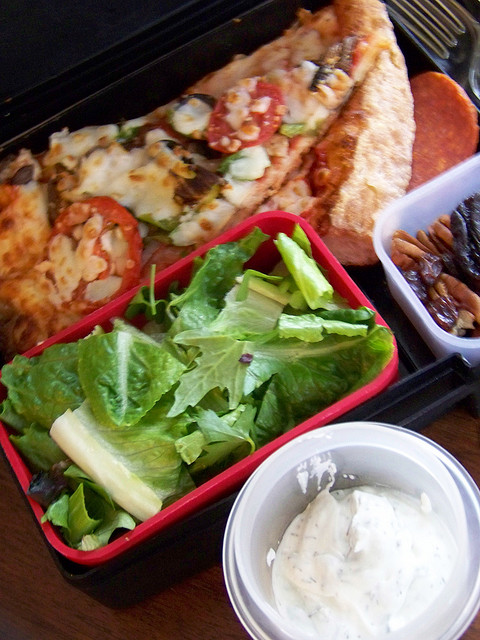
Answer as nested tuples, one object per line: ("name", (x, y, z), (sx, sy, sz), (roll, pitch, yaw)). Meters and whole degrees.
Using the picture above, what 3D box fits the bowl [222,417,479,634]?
("bowl", (0.146, 0.270, 0.721), (0.316, 0.134, 0.300), (0, 52, 0))

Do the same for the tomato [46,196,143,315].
("tomato", (-0.270, -0.116, 1.041), (0.193, 0.221, 0.069), (18, 12, 8))

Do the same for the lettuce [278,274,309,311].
("lettuce", (0.085, -0.042, 0.914), (0.058, 0.014, 0.058), (37, 49, -2))

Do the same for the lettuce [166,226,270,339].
("lettuce", (-0.083, -0.037, 0.994), (0.215, 0.185, 0.180), (21, 43, 32))

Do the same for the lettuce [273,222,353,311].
("lettuce", (0.114, -0.086, 0.901), (0.079, 0.077, 0.174), (-21, 55, -14))

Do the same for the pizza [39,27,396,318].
("pizza", (-0.091, -0.347, 1.111), (0.810, 0.423, 0.092), (-26, 58, -6))

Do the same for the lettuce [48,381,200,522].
("lettuce", (-0.174, 0.188, 0.789), (0.183, 0.053, 0.177), (-36, 84, -3))
